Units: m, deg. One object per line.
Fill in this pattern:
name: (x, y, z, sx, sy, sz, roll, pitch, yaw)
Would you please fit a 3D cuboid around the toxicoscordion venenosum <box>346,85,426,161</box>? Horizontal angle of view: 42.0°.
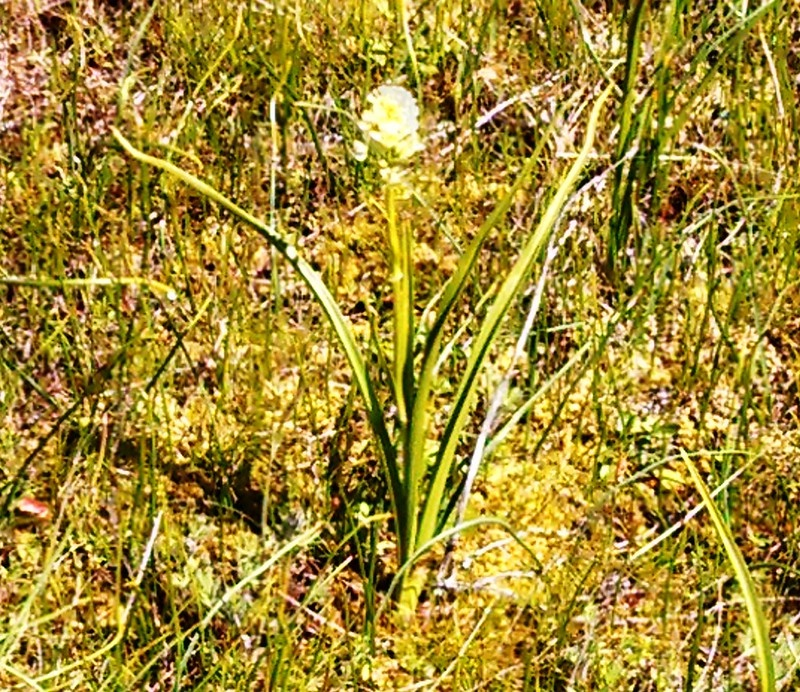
toxicoscordion venenosum: (-0.022, -0.406, 1.983, 0.132, 0.056, 0.182, 5, 89, -8)
